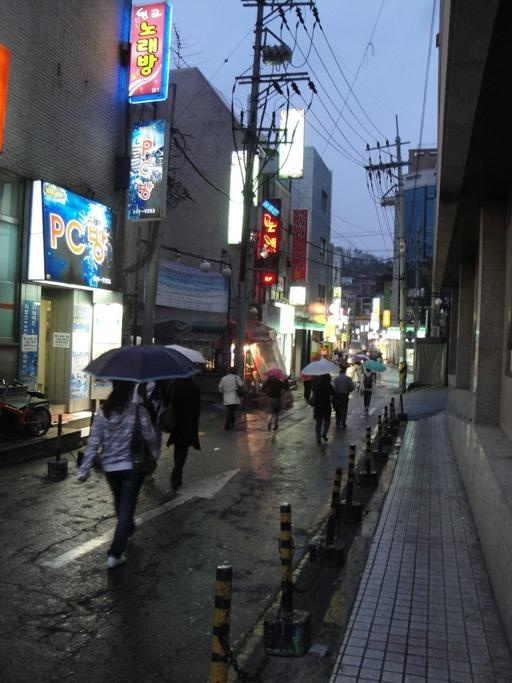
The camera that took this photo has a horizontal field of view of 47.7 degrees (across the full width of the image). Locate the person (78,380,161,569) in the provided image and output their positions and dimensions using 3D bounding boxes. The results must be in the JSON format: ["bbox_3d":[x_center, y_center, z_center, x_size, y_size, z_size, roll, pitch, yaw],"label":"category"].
[{"bbox_3d":[-1.291,1.261,5.472,0.709,1.745,0.408,0,1,-13],"label":"person"}]

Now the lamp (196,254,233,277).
[{"bbox_3d":[-1.740,-3.312,24.994,1.334,0.704,0.389,5,-3,-24],"label":"lamp"}]

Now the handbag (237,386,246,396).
[{"bbox_3d":[-0.407,1.338,15.551,0.192,0.212,0.280,1,1,4],"label":"handbag"}]

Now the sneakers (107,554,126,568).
[{"bbox_3d":[-1.327,2.072,5.463,0.174,0.132,0.177,0,1,-15],"label":"sneakers"}]

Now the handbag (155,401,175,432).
[{"bbox_3d":[-1.301,1.082,8.456,0.298,0.634,0.414,1,-5,-5],"label":"handbag"}]

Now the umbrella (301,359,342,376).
[{"bbox_3d":[1.437,0.642,13.739,0.530,0.236,0.553,-2,3,45],"label":"umbrella"}]

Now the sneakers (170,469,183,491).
[{"bbox_3d":[-1.189,2.076,8.665,0.153,0.293,0.261,1,1,-10],"label":"sneakers"}]

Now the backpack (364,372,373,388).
[{"bbox_3d":[4.014,1.470,20.968,0.253,0.458,0.467,1,1,2],"label":"backpack"}]

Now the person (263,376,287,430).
[{"bbox_3d":[0.501,1.640,15.705,0.613,1.611,0.959,1,1,3],"label":"person"}]

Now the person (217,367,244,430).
[{"bbox_3d":[-0.669,1.543,15.674,0.614,1.677,0.821,1,1,-6],"label":"person"}]

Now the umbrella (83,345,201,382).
[{"bbox_3d":[-1.226,0.222,6.235,1.050,0.349,0.907,0,1,-34],"label":"umbrella"}]
